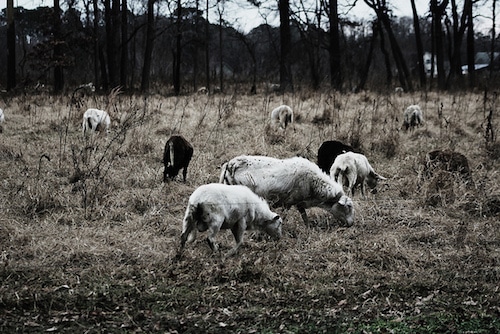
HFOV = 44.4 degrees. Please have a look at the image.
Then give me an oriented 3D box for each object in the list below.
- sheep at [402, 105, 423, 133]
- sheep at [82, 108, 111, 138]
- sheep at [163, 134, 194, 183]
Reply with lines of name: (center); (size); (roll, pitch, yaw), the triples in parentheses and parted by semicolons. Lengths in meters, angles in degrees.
sheep: (5.348, -1.630, 20.199); (0.588, 0.808, 0.525); (0, 3, 21)
sheep: (-4.878, -1.416, 19.183); (0.475, 0.808, 1.214); (0, 3, 17)
sheep: (-1.945, -0.214, 16.497); (0.786, 1.277, 0.483); (-2, 3, -14)
